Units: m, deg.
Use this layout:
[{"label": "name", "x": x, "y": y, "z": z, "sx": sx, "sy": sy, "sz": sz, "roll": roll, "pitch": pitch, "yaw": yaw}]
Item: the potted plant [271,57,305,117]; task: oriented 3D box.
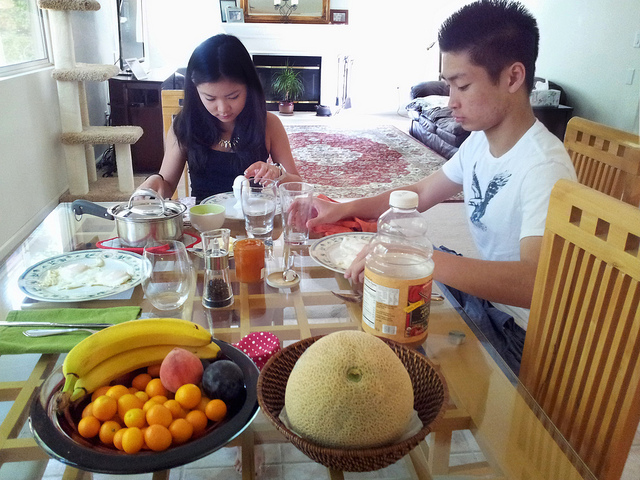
[{"label": "potted plant", "x": -0.585, "y": -2.666, "z": 7.771, "sx": 0.807, "sy": 1.126, "sz": 0.771, "roll": 0, "pitch": 28, "yaw": -3}]

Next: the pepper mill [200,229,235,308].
[{"label": "pepper mill", "x": -0.234, "y": 0.078, "z": 1.083, "sx": 0.078, "sy": 0.184, "sz": 0.072, "roll": 22, "pitch": 24, "yaw": 31}]

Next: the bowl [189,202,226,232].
[{"label": "bowl", "x": -0.350, "y": -0.084, "z": 1.387, "sx": 0.093, "sy": 0.063, "sz": 0.091, "roll": 1, "pitch": 26, "yaw": 0}]

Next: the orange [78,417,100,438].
[{"label": "orange", "x": -0.340, "y": 0.278, "z": 0.665, "sx": 0.026, "sy": 0.032, "sz": 0.026, "roll": 8, "pitch": 7, "yaw": 41}]

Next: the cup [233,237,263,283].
[{"label": "cup", "x": -0.177, "y": 0.053, "z": 1.181, "sx": 0.096, "sy": 0.107, "sz": 0.098, "roll": 0, "pitch": 16, "yaw": 0}]

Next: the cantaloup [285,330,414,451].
[{"label": "cantaloup", "x": 0.042, "y": 0.213, "z": 0.704, "sx": 0.174, "sy": 0.145, "sz": 0.201, "roll": 0, "pitch": 19, "yaw": -13}]

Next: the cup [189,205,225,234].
[{"label": "cup", "x": -0.344, "y": -0.068, "z": 1.390, "sx": 0.096, "sy": 0.069, "sz": 0.095, "roll": 0, "pitch": 23, "yaw": 0}]

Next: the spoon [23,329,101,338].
[{"label": "spoon", "x": -0.507, "y": 0.186, "z": 0.887, "sx": 0.105, "sy": 0.008, "sz": 0.029, "roll": 3, "pitch": 29, "yaw": -2}]

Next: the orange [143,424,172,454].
[{"label": "orange", "x": -0.233, "y": 0.286, "z": 0.645, "sx": 0.045, "sy": 0.032, "sz": 0.024, "roll": 12, "pitch": 26, "yaw": 23}]

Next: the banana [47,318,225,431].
[{"label": "banana", "x": -0.326, "y": 0.239, "z": 0.817, "sx": 0.272, "sy": 0.083, "sz": 0.130, "roll": -6, "pitch": 46, "yaw": -26}]
